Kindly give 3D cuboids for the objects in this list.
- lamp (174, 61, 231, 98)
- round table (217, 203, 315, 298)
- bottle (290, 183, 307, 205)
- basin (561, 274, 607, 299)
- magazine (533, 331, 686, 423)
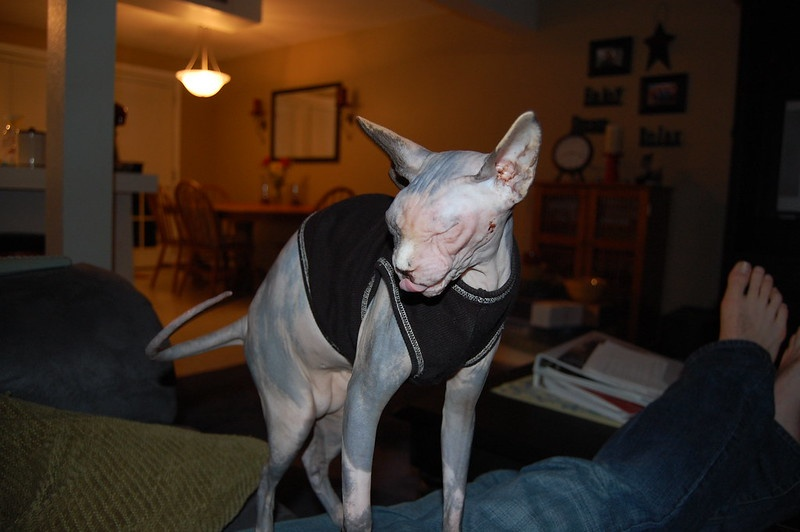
[{"bbox_3d":[-1.124,-1.066,4.018,0.114,0.158,0.439,4,9,21],"label":"lamp"},{"bbox_3d":[-1.044,-0.209,5.305,0.674,0.480,0.701,8,6,-1],"label":"round table"},{"bbox_3d":[-0.894,-0.620,6.069,0.127,0.187,0.070,-1,-3,1],"label":"bottle"},{"bbox_3d":[1.204,0.149,4.531,0.296,0.183,0.072,9,11,43],"label":"basin"},{"bbox_3d":[0.763,0.399,2.578,0.328,0.104,0.321,-19,27,-41],"label":"magazine"}]
